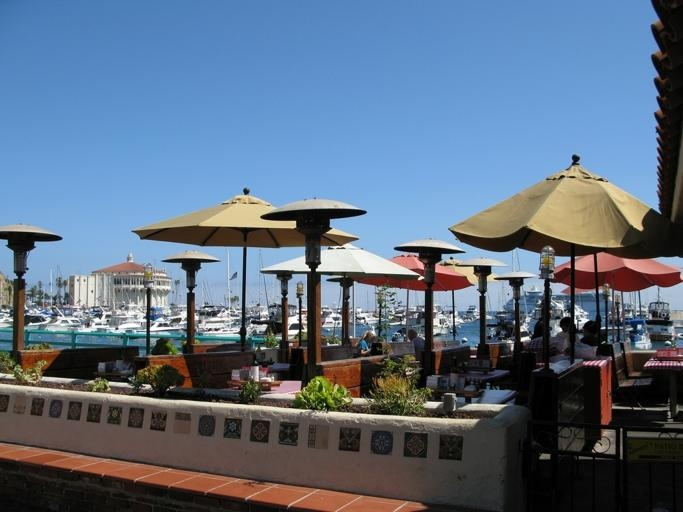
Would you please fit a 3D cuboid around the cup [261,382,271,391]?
[{"bbox_3d":[-1.148,1.932,10.850,0.208,0.119,0.192,-1,-7,0],"label":"cup"}]

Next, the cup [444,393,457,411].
[{"bbox_3d":[1.343,1.812,9.078,0.199,0.246,0.192,-1,-3,0],"label":"cup"}]

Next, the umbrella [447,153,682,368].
[{"bbox_3d":[3.073,-0.629,10.135,2.603,1.327,2.143,2,6,33],"label":"umbrella"}]

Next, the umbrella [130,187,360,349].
[{"bbox_3d":[-1.752,0.361,13.249,3.446,3.149,3.627,0,5,17],"label":"umbrella"}]

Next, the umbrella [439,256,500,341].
[{"bbox_3d":[3.611,0.821,20.055,1.678,1.332,1.622,-3,-2,5],"label":"umbrella"}]
